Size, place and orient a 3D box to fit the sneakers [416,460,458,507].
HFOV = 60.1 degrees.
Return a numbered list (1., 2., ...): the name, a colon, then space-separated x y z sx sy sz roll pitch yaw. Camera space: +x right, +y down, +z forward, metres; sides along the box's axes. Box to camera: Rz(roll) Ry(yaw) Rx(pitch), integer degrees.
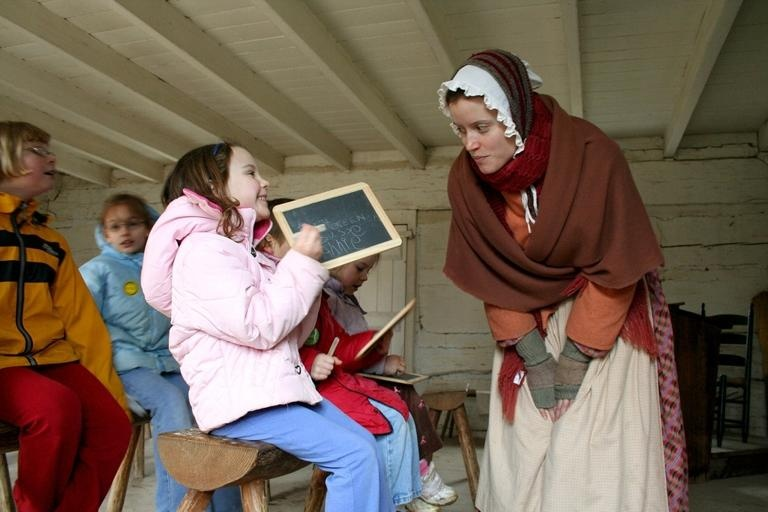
1. sneakers: 0.251 1.372 4.002 0.360 0.143 0.154 -5 0 44
